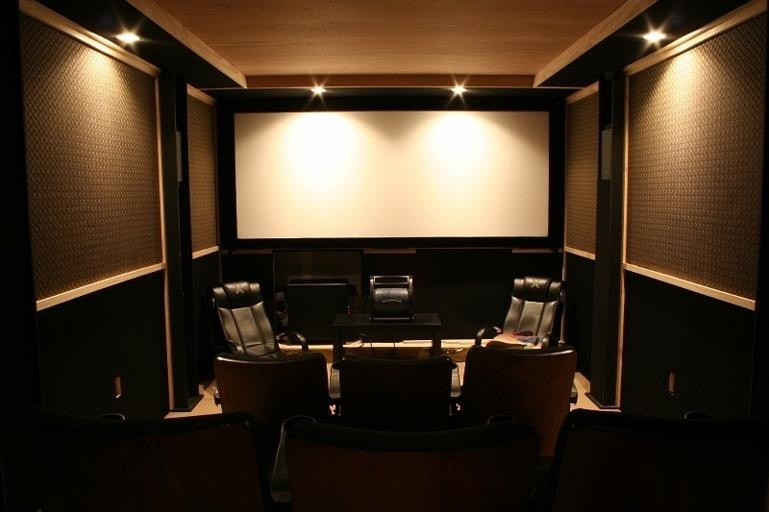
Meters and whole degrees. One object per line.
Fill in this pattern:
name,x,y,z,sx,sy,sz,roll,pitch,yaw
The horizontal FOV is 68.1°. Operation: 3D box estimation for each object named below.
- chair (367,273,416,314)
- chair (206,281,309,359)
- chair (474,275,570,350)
chair,0.082,0.439,5.789,0.471,0.445,0.434,0,-5,-1
chair,-1.166,0.741,5.452,0.635,0.956,1.070,-10,6,-37
chair,1.321,0.660,5.591,0.691,0.965,0.874,5,1,39
